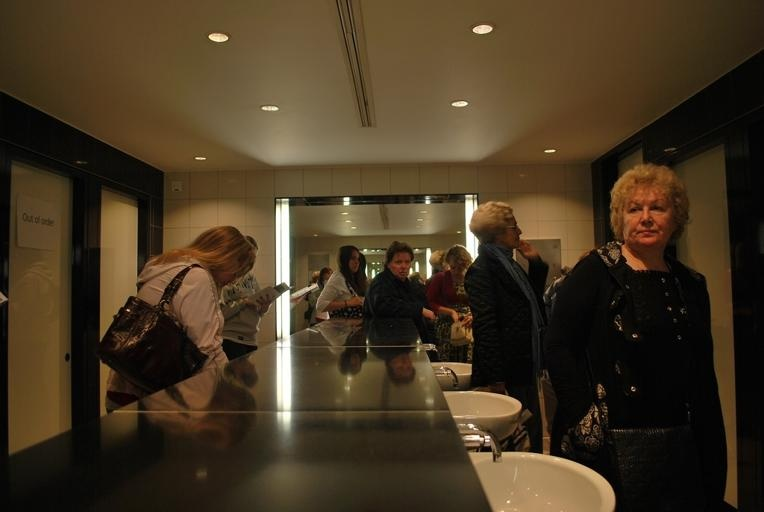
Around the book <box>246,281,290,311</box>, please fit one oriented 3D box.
[{"bbox_3d":[-0.803,0.285,3.869,0.270,0.196,0.268,6,-13,-39],"label":"book"}]

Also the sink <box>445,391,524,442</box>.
[{"bbox_3d":[0.425,0.621,2.278,0.277,0.114,0.262,0,5,-2],"label":"sink"}]

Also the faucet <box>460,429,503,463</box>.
[{"bbox_3d":[0.322,0.613,1.781,0.141,0.123,0.071,-3,8,-27],"label":"faucet"}]

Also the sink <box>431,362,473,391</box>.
[{"bbox_3d":[0.347,0.587,2.722,0.222,0.101,0.259,0,-7,0],"label":"sink"}]

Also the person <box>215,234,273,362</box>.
[{"bbox_3d":[-0.993,0.458,4.181,0.406,1.208,0.412,8,11,12],"label":"person"}]
